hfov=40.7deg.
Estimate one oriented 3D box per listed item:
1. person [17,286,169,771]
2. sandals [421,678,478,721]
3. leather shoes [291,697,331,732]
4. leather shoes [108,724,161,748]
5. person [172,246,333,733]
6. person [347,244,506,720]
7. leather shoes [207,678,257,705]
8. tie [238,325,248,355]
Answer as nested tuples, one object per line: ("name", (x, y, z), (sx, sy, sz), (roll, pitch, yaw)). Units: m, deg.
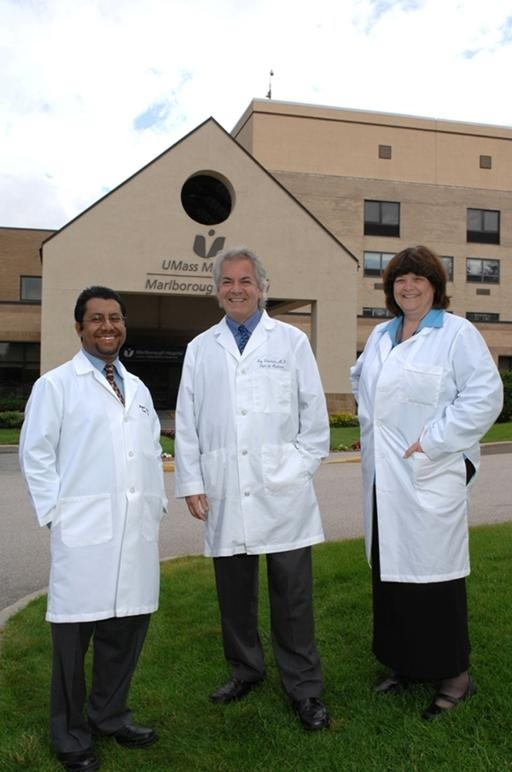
("person", (-0.735, 0.591, 3.261), (0.684, 1.949, 0.391), (-6, 2, -44))
("sandals", (0.930, 1.521, 3.351), (0.108, 0.090, 0.302), (-30, -15, 36))
("leather shoes", (0.269, 1.569, 3.299), (0.136, 0.092, 0.193), (-4, 1, -9))
("leather shoes", (-0.557, 1.627, 3.194), (0.190, 0.085, 0.088), (-1, 1, -2))
("person", (-0.031, 0.434, 3.637), (0.828, 1.875, 0.741), (-4, 2, 5))
("person", (0.815, 0.400, 3.575), (0.627, 2.280, 0.771), (-5, 2, -35))
("leather shoes", (-0.125, 1.603, 3.650), (0.262, 0.101, 0.086), (5, -9, -43))
("tie", (-0.073, -0.255, 3.820), (0.060, 0.152, 0.041), (5, -33, 3))
